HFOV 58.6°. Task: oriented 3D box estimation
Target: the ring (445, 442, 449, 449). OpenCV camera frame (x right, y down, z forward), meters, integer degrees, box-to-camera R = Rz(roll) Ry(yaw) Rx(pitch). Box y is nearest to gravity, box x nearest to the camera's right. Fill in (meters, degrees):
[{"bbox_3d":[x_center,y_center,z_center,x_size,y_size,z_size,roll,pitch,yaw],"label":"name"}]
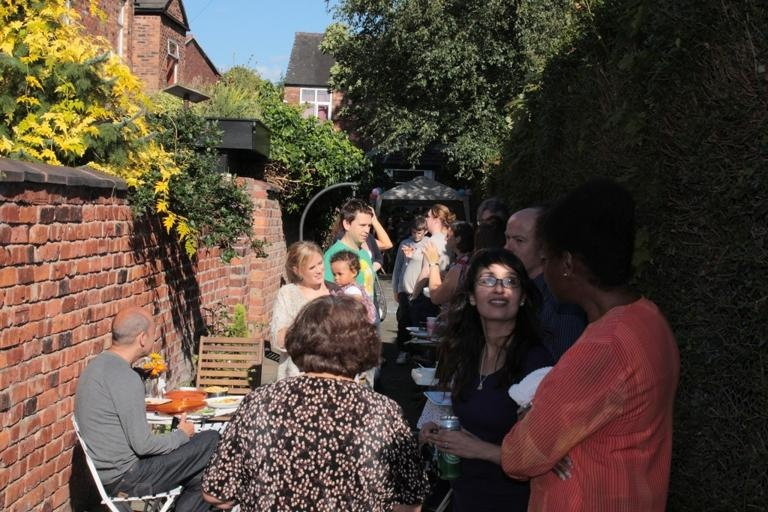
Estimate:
[{"bbox_3d":[0.346,1.037,3.765,0.028,0.037,0.006,2,2,43],"label":"ring"}]
